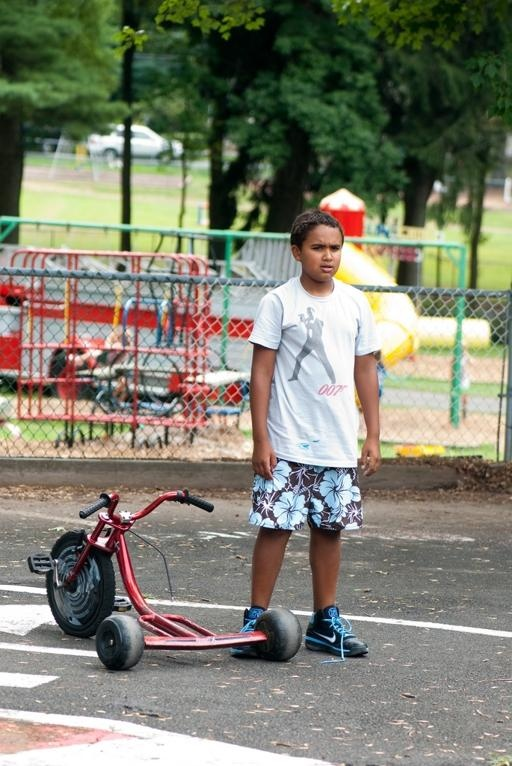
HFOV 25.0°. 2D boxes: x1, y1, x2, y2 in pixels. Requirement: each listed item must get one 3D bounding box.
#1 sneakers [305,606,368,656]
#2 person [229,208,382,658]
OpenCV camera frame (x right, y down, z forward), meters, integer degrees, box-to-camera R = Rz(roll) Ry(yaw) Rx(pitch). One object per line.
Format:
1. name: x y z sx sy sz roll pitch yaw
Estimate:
1. sneakers: 0.294 0.959 4.504 0.318 0.185 0.115 4 -1 36
2. person: 0.209 0.193 4.364 0.517 1.680 0.305 3 5 -4
